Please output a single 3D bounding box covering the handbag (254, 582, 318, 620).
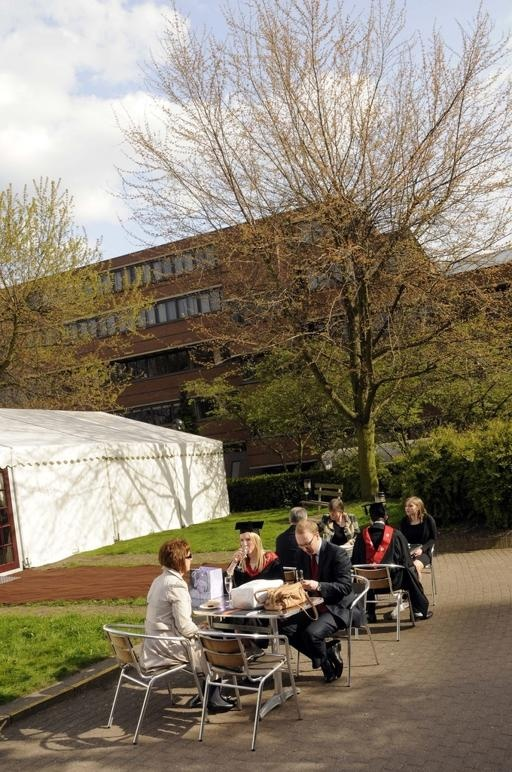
[{"bbox_3d":[0.262,1.726,4.853,0.329,0.123,0.343,-9,-9,33],"label":"handbag"}]

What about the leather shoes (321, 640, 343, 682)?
[{"bbox_3d":[0.661,2.429,5.264,0.158,0.373,0.143,10,-13,-41],"label":"leather shoes"}]

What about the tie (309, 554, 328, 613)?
[{"bbox_3d":[0.569,1.899,5.762,0.243,0.358,0.128,2,2,32],"label":"tie"}]

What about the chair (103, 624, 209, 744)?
[{"bbox_3d":[-0.843,2.333,4.840,0.666,0.813,0.617,1,-8,-41],"label":"chair"}]

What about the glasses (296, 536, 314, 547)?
[{"bbox_3d":[0.479,1.527,5.719,0.107,0.116,0.037,-8,10,30],"label":"glasses"}]

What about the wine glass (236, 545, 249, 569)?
[{"bbox_3d":[-0.132,1.739,6.060,0.074,0.236,0.165,-2,11,-32],"label":"wine glass"}]

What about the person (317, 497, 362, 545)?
[{"bbox_3d":[1.334,2.420,9.795,0.719,1.060,0.527,-3,-19,-3],"label":"person"}]

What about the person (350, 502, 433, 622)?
[{"bbox_3d":[1.693,2.279,7.704,0.937,1.530,0.956,-1,-1,23],"label":"person"}]
